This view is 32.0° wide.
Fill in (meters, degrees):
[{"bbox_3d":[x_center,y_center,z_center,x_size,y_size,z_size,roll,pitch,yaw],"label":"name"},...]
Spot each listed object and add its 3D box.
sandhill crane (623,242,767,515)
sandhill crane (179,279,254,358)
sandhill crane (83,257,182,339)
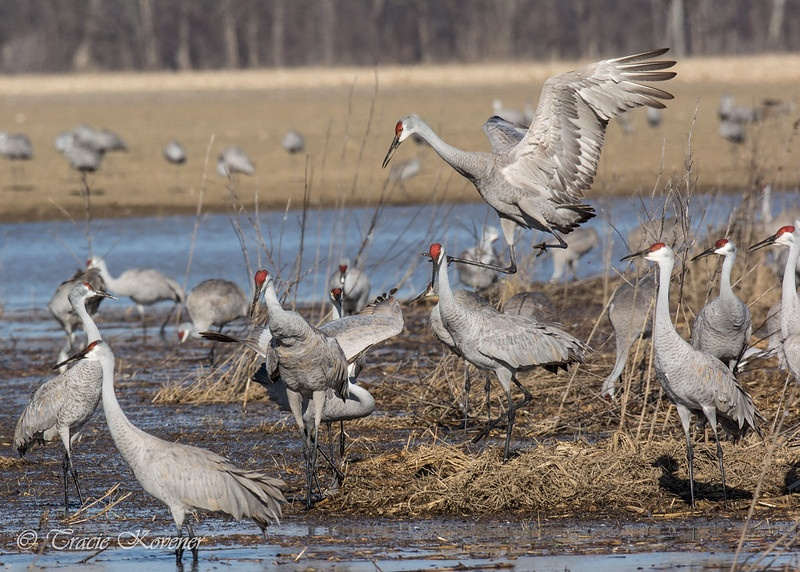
[{"bbox_3d":[2.952,0.810,13.767,0.974,2.482,0.817,-4,9,8],"label":"sandhill crane"},{"bbox_3d":[-2.593,0.305,19.756,1.286,0.867,0.708,-22,24,-30],"label":"sandhill crane"},{"bbox_3d":[-3.908,0.047,20.659,1.586,1.099,0.555,-5,17,-35],"label":"sandhill crane"}]
